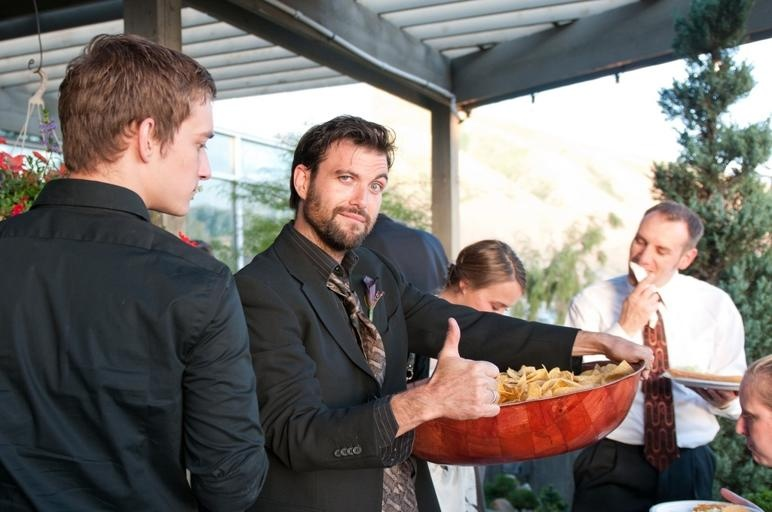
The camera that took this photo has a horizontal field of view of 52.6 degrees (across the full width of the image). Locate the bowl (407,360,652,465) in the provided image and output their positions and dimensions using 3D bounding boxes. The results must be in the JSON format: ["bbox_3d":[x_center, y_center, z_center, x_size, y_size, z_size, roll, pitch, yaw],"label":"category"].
[{"bbox_3d":[0.485,0.553,2.642,0.781,0.331,0.235,2,-4,3],"label":"bowl"}]
